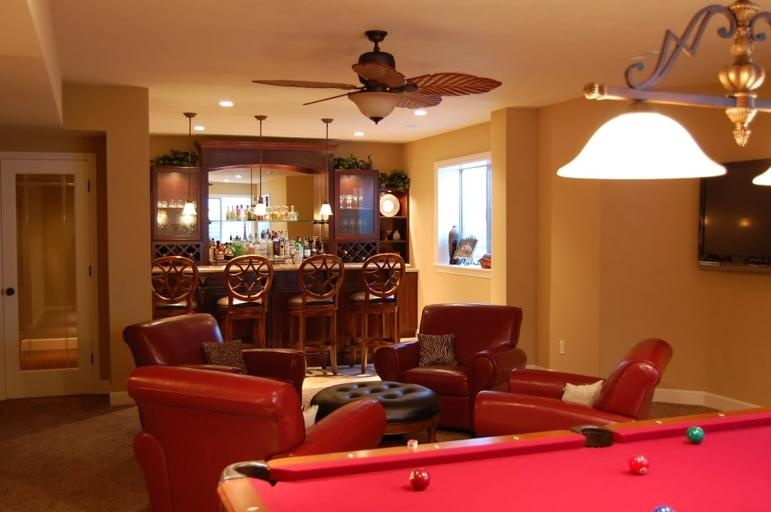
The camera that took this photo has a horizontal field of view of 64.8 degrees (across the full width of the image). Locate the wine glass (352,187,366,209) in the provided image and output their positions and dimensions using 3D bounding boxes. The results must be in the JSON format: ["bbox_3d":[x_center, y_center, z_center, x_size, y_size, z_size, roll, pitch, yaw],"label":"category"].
[{"bbox_3d":[-0.430,-0.909,9.436,0.290,0.363,0.283,1,-1,-5],"label":"wine glass"}]

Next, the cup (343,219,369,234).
[{"bbox_3d":[-0.454,-0.464,9.423,0.245,0.173,0.244,1,1,0],"label":"cup"}]

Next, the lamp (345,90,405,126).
[{"bbox_3d":[-0.072,-1.160,4.856,0.469,0.214,0.458,2,-2,-39],"label":"lamp"}]

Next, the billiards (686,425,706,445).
[{"bbox_3d":[1.541,0.887,3.007,0.079,0.080,0.081,10,-20,-15],"label":"billiards"}]

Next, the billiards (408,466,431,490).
[{"bbox_3d":[0.152,0.986,2.698,0.083,0.081,0.080,-1,1,1],"label":"billiards"}]
